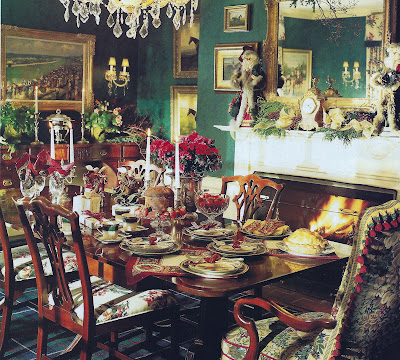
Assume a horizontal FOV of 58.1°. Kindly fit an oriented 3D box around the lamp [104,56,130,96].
[{"bbox_3d":[-1.333,-1.661,5.757,0.388,0.598,0.352,-2,11,-8],"label":"lamp"}]

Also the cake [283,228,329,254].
[{"bbox_3d":[0.490,0.297,1.699,0.131,0.058,0.145,0,5,0],"label":"cake"}]

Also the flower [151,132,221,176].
[{"bbox_3d":[-0.083,-0.167,2.346,0.387,0.292,0.438,-6,12,-28],"label":"flower"}]

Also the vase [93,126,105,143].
[{"bbox_3d":[-1.528,-0.691,5.414,0.174,0.226,0.087,-4,11,-18],"label":"vase"}]

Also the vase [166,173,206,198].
[{"bbox_3d":[-0.106,0.025,2.360,0.196,0.130,0.188,-4,8,-39],"label":"vase"}]

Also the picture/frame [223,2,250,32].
[{"bbox_3d":[0.409,-1.821,4.017,0.393,0.323,0.042,5,8,39],"label":"picture/frame"}]

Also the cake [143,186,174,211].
[{"bbox_3d":[-0.236,0.102,1.984,0.139,0.098,0.133,1,7,-16],"label":"cake"}]

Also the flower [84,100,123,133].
[{"bbox_3d":[-1.457,-0.972,5.581,0.536,0.442,0.513,3,1,-2],"label":"flower"}]

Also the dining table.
[{"bbox_3d":[-0.017,0.344,1.587,0.775,0.348,0.744,-2,4,-38],"label":"dining table"}]

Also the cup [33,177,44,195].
[{"bbox_3d":[-1.081,0.035,2.408,0.067,0.145,0.093,-6,12,-26],"label":"cup"}]

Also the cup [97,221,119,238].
[{"bbox_3d":[-0.474,0.249,1.830,0.090,0.061,0.072,-1,5,-2],"label":"cup"}]

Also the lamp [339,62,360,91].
[{"bbox_3d":[1.317,-0.922,3.154,0.067,0.247,0.185,-7,12,-28],"label":"lamp"}]

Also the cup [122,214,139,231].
[{"bbox_3d":[-0.384,0.232,1.955,0.089,0.066,0.070,1,-2,-18],"label":"cup"}]
